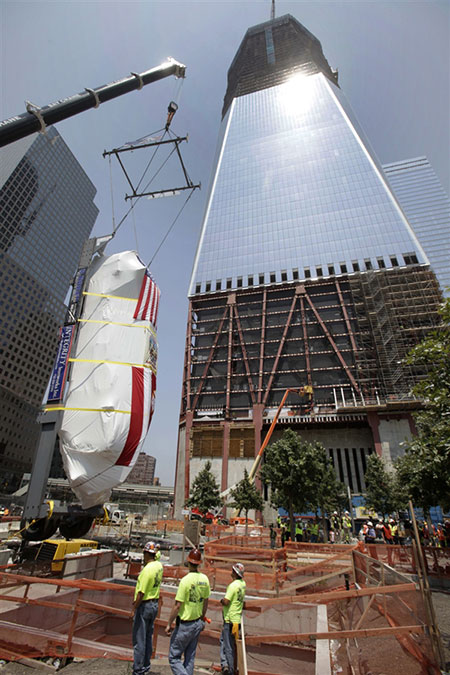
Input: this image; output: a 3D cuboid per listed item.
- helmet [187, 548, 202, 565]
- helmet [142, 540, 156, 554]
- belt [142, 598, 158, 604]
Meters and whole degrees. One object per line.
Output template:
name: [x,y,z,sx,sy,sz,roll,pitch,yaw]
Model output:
helmet: [-0.417,3.058,4.902,0.217,0.185,0.275,10,-20,-10]
helmet: [-1.161,3.357,5.475,0.212,0.157,0.290,12,-22,-4]
belt: [-1.026,3.759,4.929,0.117,0.029,0.119,-1,-12,5]
